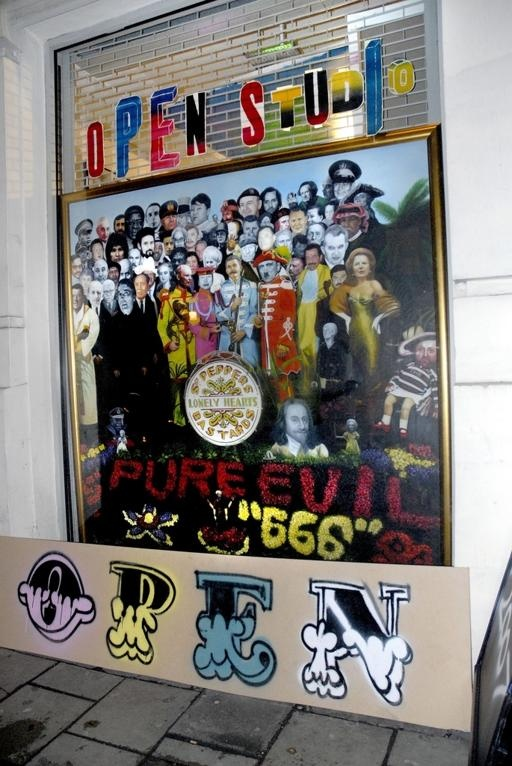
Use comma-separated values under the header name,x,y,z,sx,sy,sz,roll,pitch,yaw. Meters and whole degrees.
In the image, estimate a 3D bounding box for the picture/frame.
name,x,y,z,sx,sy,sz,roll,pitch,yaw
picture/frame,0.057,-0.205,3.599,2.293,2.553,0.100,0,4,26
